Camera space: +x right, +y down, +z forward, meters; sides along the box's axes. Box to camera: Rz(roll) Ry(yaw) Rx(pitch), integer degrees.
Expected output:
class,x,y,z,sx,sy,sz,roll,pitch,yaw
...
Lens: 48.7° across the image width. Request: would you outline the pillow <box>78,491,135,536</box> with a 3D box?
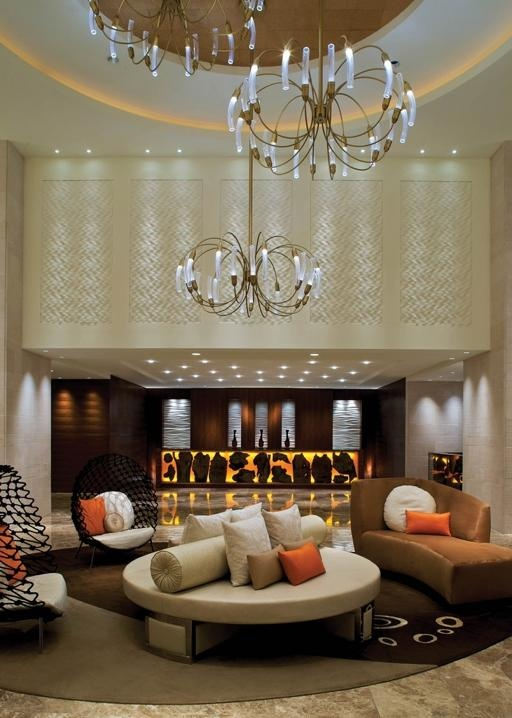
class,x,y,z,sx,sy,sz,roll,pitch,yaw
pillow,-1.538,1.594,5.829,0.439,0.354,0.196,12,-48,-40
